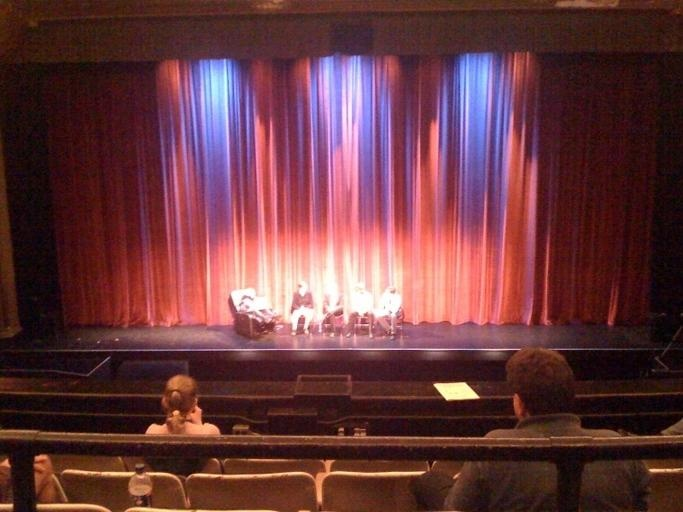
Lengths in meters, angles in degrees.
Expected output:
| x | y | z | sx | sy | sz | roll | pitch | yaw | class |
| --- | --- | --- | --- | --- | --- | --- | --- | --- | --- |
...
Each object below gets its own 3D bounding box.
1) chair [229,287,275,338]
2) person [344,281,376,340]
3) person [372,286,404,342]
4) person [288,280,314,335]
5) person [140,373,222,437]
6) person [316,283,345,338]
| x | y | z | sx | sy | sz | roll | pitch | yaw | class |
| --- | --- | --- | --- | --- | --- | --- | --- | --- | --- |
| -1.101 | 0.711 | 9.545 | 0.680 | 0.504 | 0.552 | 11 | 13 | 41 | chair |
| 0.270 | 0.722 | 9.679 | 0.530 | 0.968 | 0.582 | 1 | -45 | 4 | person |
| 0.610 | 0.729 | 9.455 | 0.357 | 0.794 | 0.279 | -3 | -38 | 3 | person |
| -0.504 | 0.693 | 9.680 | 0.299 | 0.834 | 0.287 | 2 | -38 | -3 | person |
| -1.399 | 1.297 | 6.357 | 0.653 | 0.628 | 1.233 | 3 | -8 | -6 | person |
| -0.138 | 0.734 | 9.627 | 0.372 | 0.837 | 0.243 | -8 | -38 | 10 | person |
